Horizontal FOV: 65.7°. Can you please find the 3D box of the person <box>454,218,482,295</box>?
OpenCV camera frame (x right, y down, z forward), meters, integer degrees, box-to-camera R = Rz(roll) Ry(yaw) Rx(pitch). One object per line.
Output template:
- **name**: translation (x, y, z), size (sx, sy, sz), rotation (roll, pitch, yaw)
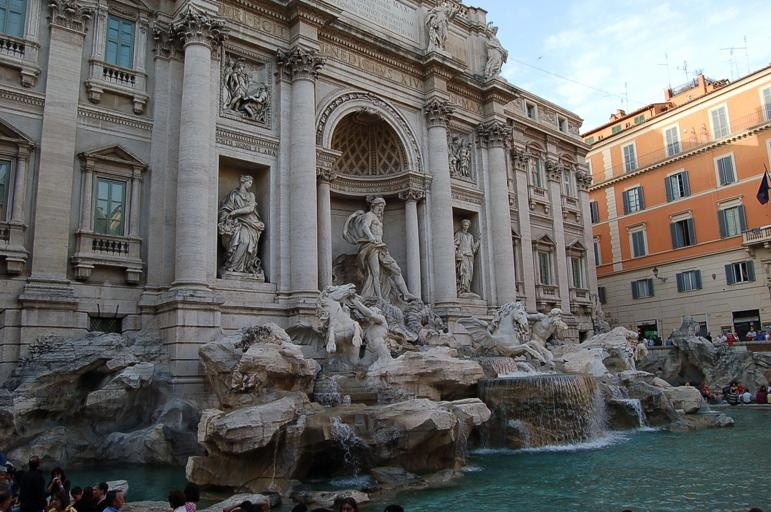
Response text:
- **person**: translation (3.730, 0.028, 27.992), size (1.453, 3.662, 0.570), rotation (9, -15, -39)
